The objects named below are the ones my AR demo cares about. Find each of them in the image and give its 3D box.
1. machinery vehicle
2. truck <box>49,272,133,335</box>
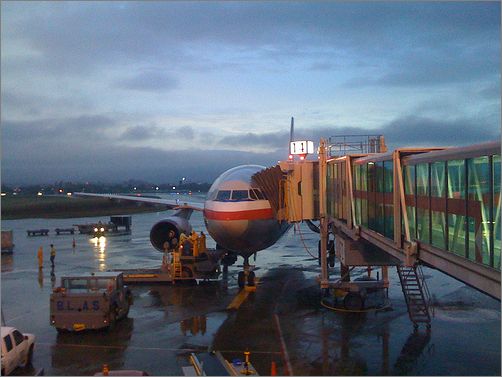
[{"bbox_3d":[-5.155,4.646,35.242,6.261,2.900,4.746,-8,-4,19],"label":"machinery vehicle"},{"bbox_3d":[-7.750,5.471,25.950,2.339,1.709,3.604,-1,3,2],"label":"truck"}]
